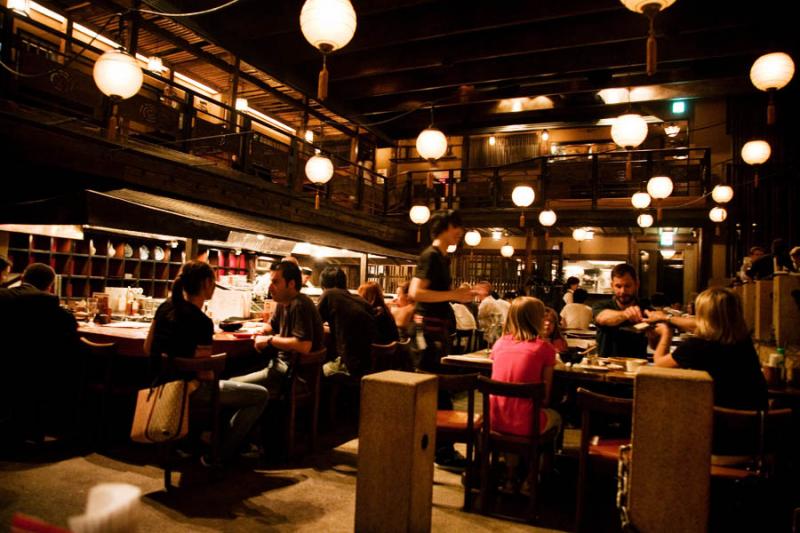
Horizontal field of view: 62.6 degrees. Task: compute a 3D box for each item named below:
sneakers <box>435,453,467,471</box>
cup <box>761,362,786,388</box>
[{"bbox_3d":[0.666,2.611,8.723,0.517,0.198,0.167,2,-8,0],"label":"sneakers"},{"bbox_3d":[4.388,1.272,7.744,0.259,0.324,0.306,-1,1,40],"label":"cup"}]
